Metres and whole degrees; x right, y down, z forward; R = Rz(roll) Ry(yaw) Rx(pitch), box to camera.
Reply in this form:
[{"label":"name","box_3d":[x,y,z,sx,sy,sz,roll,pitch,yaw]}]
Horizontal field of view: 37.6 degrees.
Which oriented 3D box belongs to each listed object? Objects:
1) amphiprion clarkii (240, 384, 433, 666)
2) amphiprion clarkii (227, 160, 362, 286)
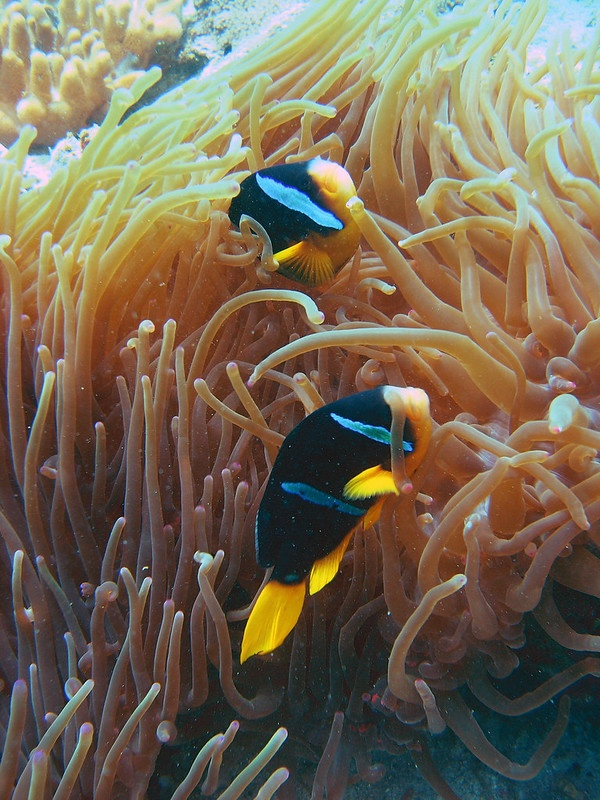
[{"label":"amphiprion clarkii","box_3d":[0.024,0.157,1.401,0.429,0.264,0.168,-37,59,-16]},{"label":"amphiprion clarkii","box_3d":[-0.004,-0.339,1.618,0.181,0.140,0.239,32,63,31]}]
